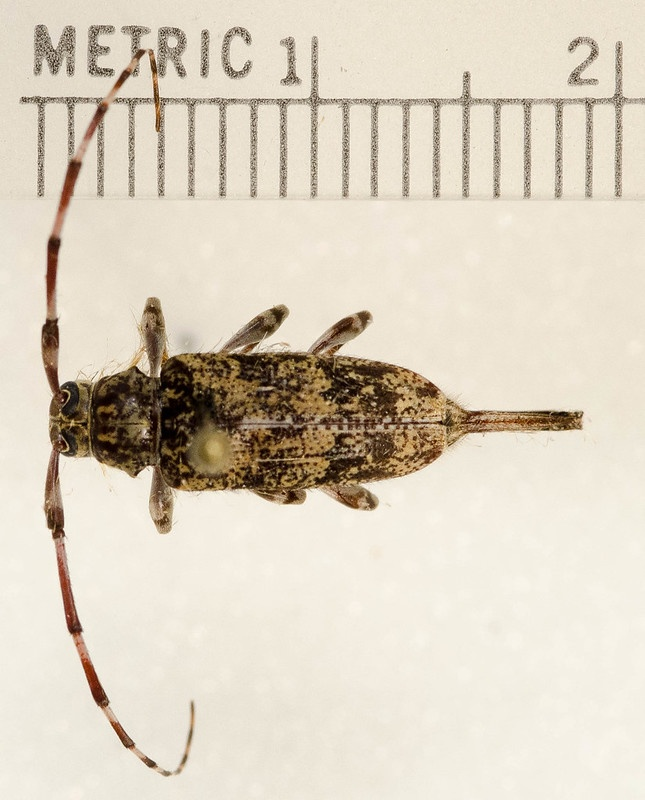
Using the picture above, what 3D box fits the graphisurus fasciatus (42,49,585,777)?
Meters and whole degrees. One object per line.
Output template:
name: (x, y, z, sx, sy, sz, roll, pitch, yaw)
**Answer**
graphisurus fasciatus: (-0.242, 0.089, 7.552, 2.767, 4.102, 1.024, 0, 2, -3)
